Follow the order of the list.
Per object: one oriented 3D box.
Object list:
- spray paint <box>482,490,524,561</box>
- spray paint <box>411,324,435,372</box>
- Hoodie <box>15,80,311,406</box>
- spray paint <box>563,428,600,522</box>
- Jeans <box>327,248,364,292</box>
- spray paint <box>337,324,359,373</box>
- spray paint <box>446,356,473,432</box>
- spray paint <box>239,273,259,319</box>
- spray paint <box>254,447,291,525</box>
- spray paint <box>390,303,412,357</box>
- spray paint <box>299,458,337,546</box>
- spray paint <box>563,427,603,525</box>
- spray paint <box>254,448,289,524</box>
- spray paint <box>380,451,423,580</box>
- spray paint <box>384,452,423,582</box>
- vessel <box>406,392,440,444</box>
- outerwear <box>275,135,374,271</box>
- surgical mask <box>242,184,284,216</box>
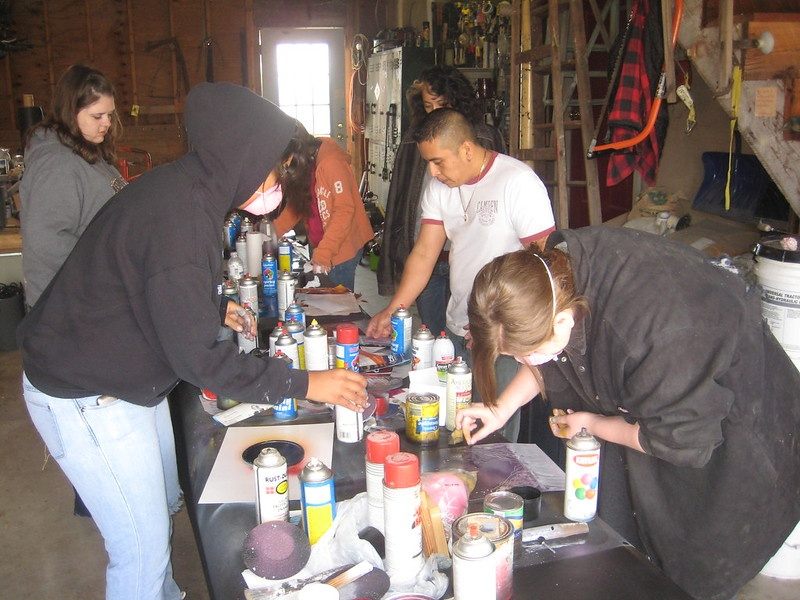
[{"bbox_3d":[0.298,0.643,1.926,0.108,0.122,0.109,-10,-13,40],"label":"spray paint"},{"bbox_3d":[0.091,0.198,2.802,0.097,0.172,0.234,-2,9,2],"label":"spray paint"},{"bbox_3d":[-0.729,-0.227,2.328,0.908,1.085,0.968,-1,35,-32],"label":"Hoodie"},{"bbox_3d":[0.530,0.516,2.031,0.100,0.256,0.088,-1,9,13],"label":"spray paint"},{"bbox_3d":[-0.365,-0.195,4.555,0.120,0.169,0.384,5,7,7],"label":"Jeans"},{"bbox_3d":[-0.199,0.185,2.632,0.081,0.204,0.083,-15,34,-25],"label":"spray paint"},{"bbox_3d":[0.209,0.334,2.462,0.104,0.265,0.103,-5,13,-16],"label":"spray paint"},{"bbox_3d":[-0.762,-0.010,3.491,0.095,0.227,0.095,-10,22,-30],"label":"spray paint"},{"bbox_3d":[-0.371,0.541,2.002,0.096,0.239,0.096,-2,19,-5],"label":"spray paint"},{"bbox_3d":[0.007,0.140,3.028,0.095,0.237,0.094,0,10,-1],"label":"spray paint"},{"bbox_3d":[-0.233,0.560,1.969,0.096,0.248,0.097,1,24,5],"label":"spray paint"},{"bbox_3d":[0.534,0.515,2.055,0.104,0.261,0.104,0,10,0],"label":"spray paint"},{"bbox_3d":[-0.353,0.534,1.949,0.093,0.211,0.121,-6,9,-20],"label":"spray paint"},{"bbox_3d":[0.006,0.578,1.839,0.102,0.331,0.076,-2,9,2],"label":"spray paint"},{"bbox_3d":[0.008,0.593,1.872,0.106,0.390,0.104,-8,25,-16],"label":"spray paint"},{"bbox_3d":[0.077,0.402,2.433,0.147,0.162,0.147,-2,7,-10],"label":"vessel"},{"bbox_3d":[-0.480,-0.626,4.435,0.574,0.746,0.914,-20,20,-26],"label":"outerwear"},{"bbox_3d":[-0.469,-0.332,2.356,0.119,0.052,0.093,-14,15,6],"label":"surgical mask"}]
